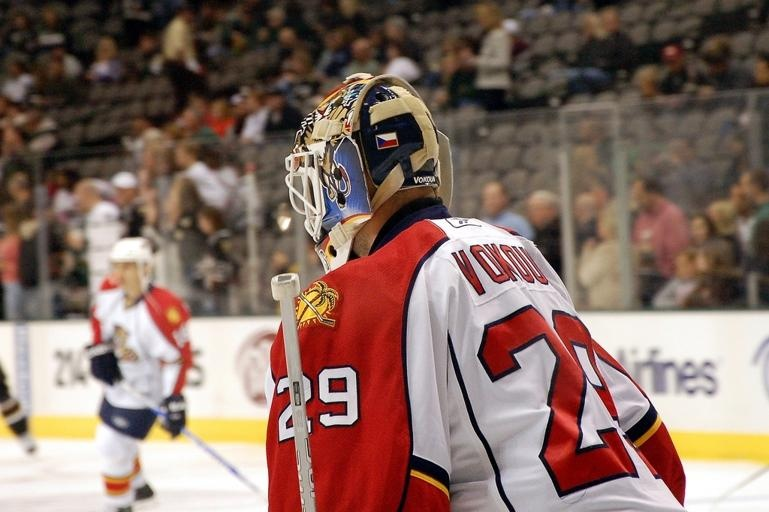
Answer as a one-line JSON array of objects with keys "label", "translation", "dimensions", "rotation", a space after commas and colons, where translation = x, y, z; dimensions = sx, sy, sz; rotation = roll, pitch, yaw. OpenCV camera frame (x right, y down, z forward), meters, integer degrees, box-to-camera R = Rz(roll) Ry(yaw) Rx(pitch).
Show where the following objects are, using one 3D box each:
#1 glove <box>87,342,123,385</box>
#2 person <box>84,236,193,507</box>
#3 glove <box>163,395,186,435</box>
[{"label": "glove", "translation": [-2.830, 1.079, 17.796], "dimensions": [0.427, 0.313, 0.358], "rotation": [-18, -8, 36]}, {"label": "person", "translation": [-2.496, 1.179, 17.824], "dimensions": [1.018, 2.704, 0.459], "rotation": [-1, 2, -7]}, {"label": "glove", "translation": [-2.104, 1.600, 17.849], "dimensions": [0.152, 0.441, 0.263], "rotation": [1, 2, 28]}]
